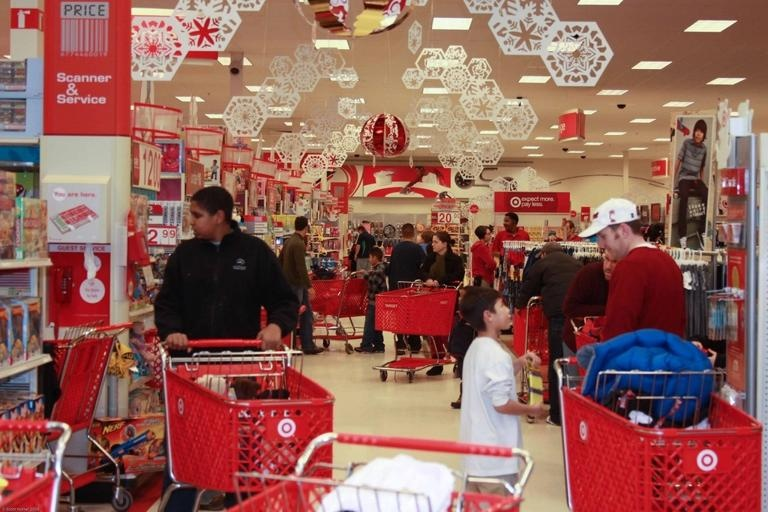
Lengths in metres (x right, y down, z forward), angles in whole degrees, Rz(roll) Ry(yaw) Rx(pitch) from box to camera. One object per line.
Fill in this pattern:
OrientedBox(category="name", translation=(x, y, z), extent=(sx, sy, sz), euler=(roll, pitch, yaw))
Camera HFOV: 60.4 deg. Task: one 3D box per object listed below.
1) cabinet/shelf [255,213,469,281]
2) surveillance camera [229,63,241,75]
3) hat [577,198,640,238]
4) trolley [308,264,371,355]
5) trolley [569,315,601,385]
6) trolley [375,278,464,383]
OrientedBox(category="cabinet/shelf", translation=(-0.121, 0.035, 9.863), extent=(2.706, 1.003, 1.540), euler=(5, -2, 2))
OrientedBox(category="surveillance camera", translation=(-2.992, -3.734, 13.266), extent=(0.207, 0.169, 0.276), euler=(0, 4, -14))
OrientedBox(category="hat", translation=(1.438, -0.268, 4.224), extent=(0.327, 0.179, 0.218), euler=(-11, 8, 4))
OrientedBox(category="trolley", translation=(-0.716, 0.866, 10.998), extent=(0.820, 1.342, 1.401), euler=(0, -2, 2))
OrientedBox(category="trolley", translation=(1.619, 0.691, 5.255), extent=(0.262, 0.366, 0.248), euler=(-6, 11, -16))
OrientedBox(category="trolley", translation=(0.420, 0.947, 8.468), extent=(0.751, 1.262, 1.091), euler=(-1, -2, 39))
